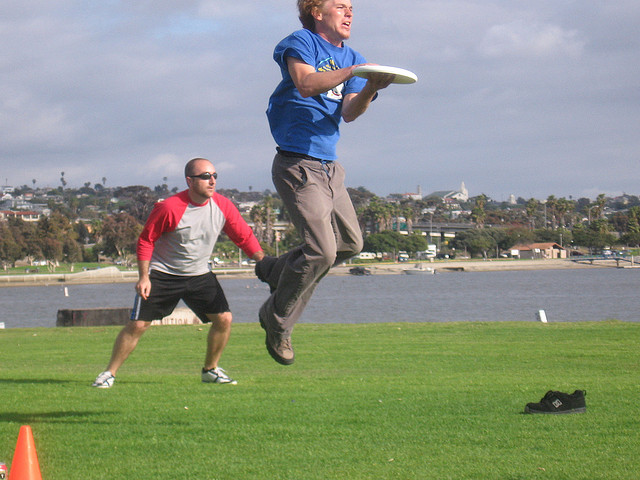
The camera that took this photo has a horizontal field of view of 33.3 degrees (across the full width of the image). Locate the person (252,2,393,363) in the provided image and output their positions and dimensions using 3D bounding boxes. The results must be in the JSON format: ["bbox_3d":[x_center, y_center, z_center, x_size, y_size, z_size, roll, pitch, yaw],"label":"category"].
[{"bbox_3d":[-0.087,-0.591,11.059,1.291,3.148,1.068,4,-2,23],"label":"person"}]

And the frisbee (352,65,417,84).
[{"bbox_3d":[0.618,-1.619,10.545,0.594,0.150,0.421,2,-1,10],"label":"frisbee"}]

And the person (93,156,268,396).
[{"bbox_3d":[-1.624,0.420,12.633,1.659,2.461,0.672,4,-1,-10],"label":"person"}]
